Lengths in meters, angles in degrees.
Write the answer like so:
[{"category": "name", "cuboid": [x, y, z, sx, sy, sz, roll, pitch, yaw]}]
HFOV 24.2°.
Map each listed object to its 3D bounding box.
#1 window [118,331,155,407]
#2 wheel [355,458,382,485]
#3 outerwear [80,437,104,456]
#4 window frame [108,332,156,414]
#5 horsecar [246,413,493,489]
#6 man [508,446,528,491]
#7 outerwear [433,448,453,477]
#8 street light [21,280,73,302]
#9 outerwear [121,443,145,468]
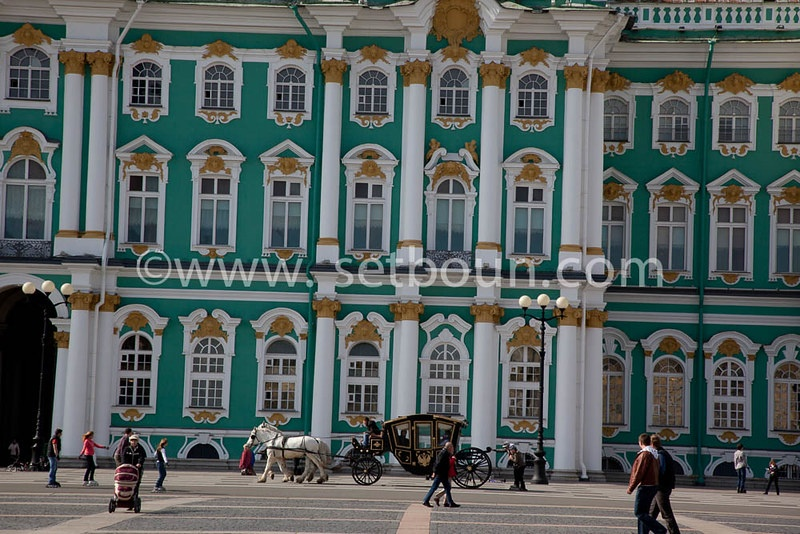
[{"category": "window", "cuboid": [-11.815, 4.572, 84.788, 1.719, 3.190, 0.253, 3, 4, 17]}, {"category": "wheel", "cuboid": [-1.315, 8.541, 78.933, 1.360, 1.095, 0.236, 3, 4, 5]}, {"category": "outerwear", "cuboid": [-13.002, 7.607, 79.659, 0.949, 0.483, 1.626, 1, -21, -32]}, {"category": "window frame", "cuboid": [-11.795, 4.595, 84.776, 1.937, 3.412, 0.192, 0, -4, 25]}, {"category": "horsecar", "cuboid": [-1.304, 7.671, 79.387, 10.552, 2.694, 2.310, 3, -6, -2]}, {"category": "man", "cuboid": [4.982, 8.463, 79.208, 0.769, 1.857, 1.475, 0, -9, 3]}, {"category": "outerwear", "cuboid": [1.709, 7.510, 72.325, 0.642, 1.053, 0.462, 1, -9, -3]}, {"category": "street light", "cuboid": [-15.538, 0.931, 82.669, 1.712, 0.583, 1.528, 0, -2, 12]}, {"category": "outerwear", "cuboid": [-10.491, 7.393, 74.011, 1.325, 1.200, 0.871, 2, -14, -10]}]
